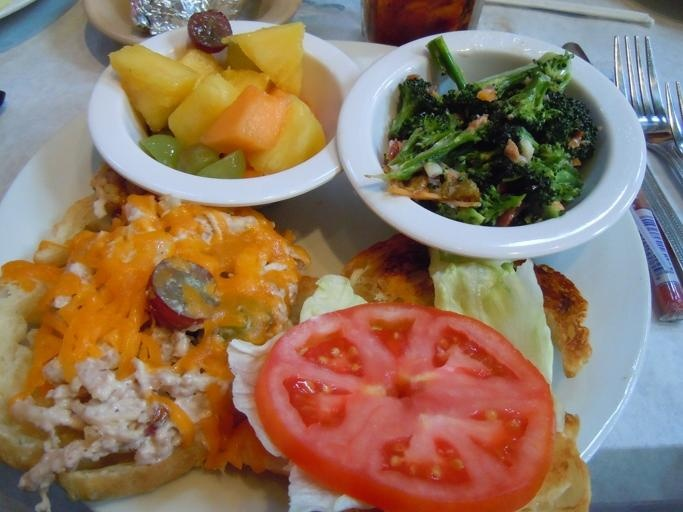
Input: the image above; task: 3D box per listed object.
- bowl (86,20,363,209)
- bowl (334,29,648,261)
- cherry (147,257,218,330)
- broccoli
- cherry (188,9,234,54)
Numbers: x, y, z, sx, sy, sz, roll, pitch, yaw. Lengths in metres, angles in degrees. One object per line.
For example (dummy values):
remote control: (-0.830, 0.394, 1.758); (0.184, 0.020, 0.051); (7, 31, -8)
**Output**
bowl: (-0.544, -0.724, 2.958); (1.257, 0.457, 1.144); (-1, 76, 3)
bowl: (0.675, -0.524, 2.779); (1.395, 0.345, 1.198); (17, 77, 7)
cherry: (-0.647, 0.158, 2.443); (0.268, 0.111, 0.280); (15, 77, 7)
broccoli: (0.640, -0.566, 2.871); (0.834, 0.474, 0.920); (-22, 54, -13)
cherry: (-0.663, -1.147, 2.996); (0.196, 0.122, 0.203); (36, 93, -22)
